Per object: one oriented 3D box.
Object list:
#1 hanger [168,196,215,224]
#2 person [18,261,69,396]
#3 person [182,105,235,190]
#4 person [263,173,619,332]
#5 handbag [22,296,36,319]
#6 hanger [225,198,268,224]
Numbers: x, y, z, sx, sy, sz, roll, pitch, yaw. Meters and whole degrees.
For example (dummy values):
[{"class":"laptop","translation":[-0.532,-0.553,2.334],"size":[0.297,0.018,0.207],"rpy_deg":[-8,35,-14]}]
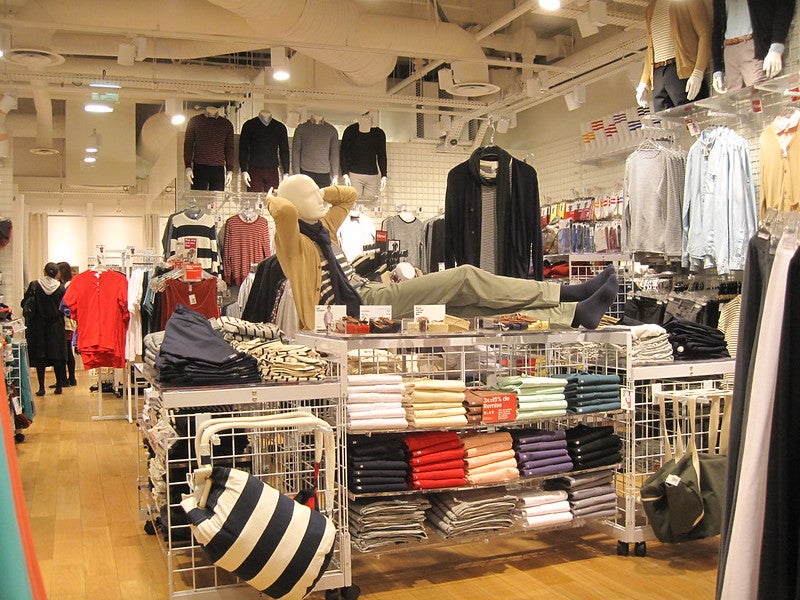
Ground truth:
[{"class":"hanger","translation":[-2.389,-0.976,8.017],"size":[0.375,0.206,0.570],"rpy_deg":[-1,4,-20]},{"class":"person","translation":[-5.067,0.459,9.995],"size":[0.539,1.985,1.388],"rpy_deg":[-1,2,-28]},{"class":"person","translation":[-2.488,-1.663,9.075],"size":[0.567,1.715,0.319],"rpy_deg":[6,-24,-19]},{"class":"person","translation":[0.273,-0.331,4.564],"size":[2.100,1.191,1.120],"rpy_deg":[-4,11,8]},{"class":"handbag","translation":[-5.148,0.092,9.749],"size":[0.121,0.332,0.243],"rpy_deg":[10,-13,-43]},{"class":"hanger","translation":[-1.853,-1.118,8.529],"size":[0.482,0.378,0.699],"rpy_deg":[0,2,-14]}]
